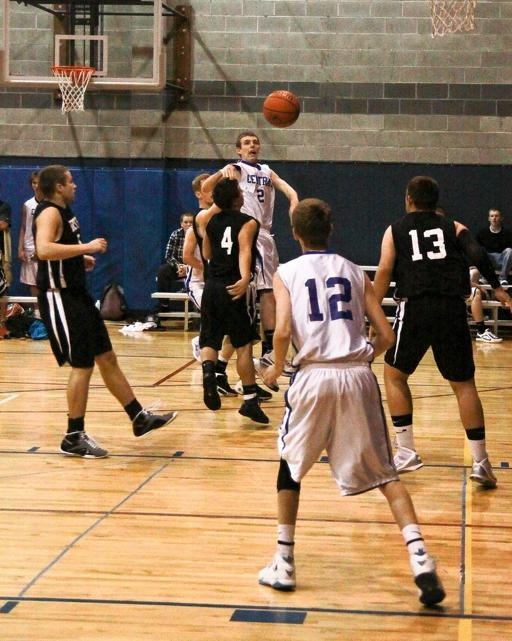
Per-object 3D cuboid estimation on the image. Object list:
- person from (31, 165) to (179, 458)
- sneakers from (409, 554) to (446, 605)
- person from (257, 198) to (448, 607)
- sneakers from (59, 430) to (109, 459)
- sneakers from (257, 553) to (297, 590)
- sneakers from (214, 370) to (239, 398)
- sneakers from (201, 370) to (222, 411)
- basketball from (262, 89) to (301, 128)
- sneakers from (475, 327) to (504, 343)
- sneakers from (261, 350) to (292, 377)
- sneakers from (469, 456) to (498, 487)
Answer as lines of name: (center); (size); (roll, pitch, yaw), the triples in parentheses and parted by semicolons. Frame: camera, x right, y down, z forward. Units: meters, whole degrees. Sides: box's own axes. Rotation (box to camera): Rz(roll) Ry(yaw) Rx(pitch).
person: (-0.818, -0.044, 4.380); (0.582, 1.473, 0.445); (-1, 6, -14)
sneakers: (0.515, 0.775, 2.596); (0.069, 0.185, 0.090); (-20, 17, 5)
person: (0.301, 0.327, 2.776); (0.577, 1.095, 0.394); (2, 6, 11)
sneakers: (-0.879, 0.635, 4.461); (0.308, 0.137, 0.103); (4, -1, 6)
sneakers: (0.087, 0.813, 2.817); (0.067, 0.120, 0.172); (6, 0, -19)
sneakers: (-0.214, 0.456, 6.217); (0.264, 0.155, 0.086); (13, 5, -27)
sneakers: (-0.239, 0.385, 4.747); (0.077, 0.220, 0.088); (-11, 29, 0)
basketball: (0.209, -1.734, 7.059); (0.251, 0.302, 0.252); (2, 6, 13)
sneakers: (2.584, 0.171, 9.538); (0.337, 0.160, 0.123); (1, -1, 29)
sneakers: (0.174, 0.268, 5.510); (0.126, 0.161, 0.368); (-2, 5, -29)
sneakers: (1.021, 0.682, 3.877); (0.071, 0.098, 0.204); (2, -13, 33)
